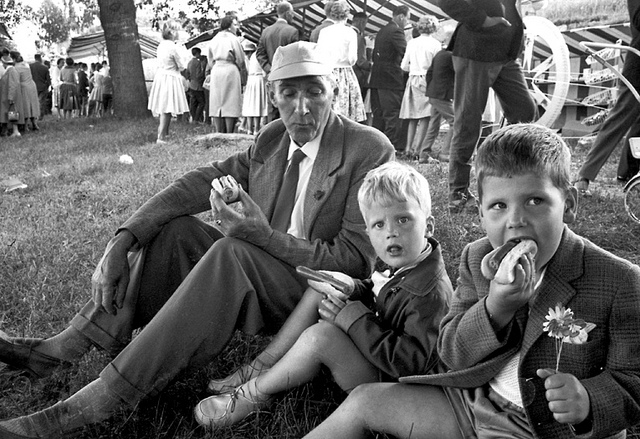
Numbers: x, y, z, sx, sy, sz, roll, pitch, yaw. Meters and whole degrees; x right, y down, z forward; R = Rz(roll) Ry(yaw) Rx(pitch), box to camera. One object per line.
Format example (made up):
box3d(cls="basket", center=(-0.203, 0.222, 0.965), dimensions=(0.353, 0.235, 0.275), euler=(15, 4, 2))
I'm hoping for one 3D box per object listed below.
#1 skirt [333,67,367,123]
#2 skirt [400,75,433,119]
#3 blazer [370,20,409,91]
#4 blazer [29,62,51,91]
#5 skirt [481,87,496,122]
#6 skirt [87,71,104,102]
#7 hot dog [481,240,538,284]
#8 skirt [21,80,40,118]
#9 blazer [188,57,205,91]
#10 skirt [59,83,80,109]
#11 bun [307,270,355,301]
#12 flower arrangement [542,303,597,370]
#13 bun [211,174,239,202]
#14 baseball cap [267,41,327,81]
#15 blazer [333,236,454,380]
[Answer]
box3d(cls="skirt", center=(0.371, -2.134, 9.420), dimensions=(0.503, 0.957, 0.750), euler=(1, 16, -3))
box3d(cls="skirt", center=(1.587, -1.999, 9.389), dimensions=(0.390, 0.796, 0.443), euler=(15, 24, 24))
box3d(cls="blazer", center=(1.096, -2.699, 9.295), dimensions=(0.570, 1.103, 0.297), euler=(1, 13, 5))
box3d(cls="blazer", center=(-10.110, -5.249, 20.395), dimensions=(0.777, 1.074, 0.390), euler=(5, 39, -12))
box3d(cls="skirt", center=(2.849, -1.926, 9.575), dimensions=(0.190, 0.579, 0.657), euler=(4, 15, 15))
box3d(cls="skirt", center=(-8.633, -5.163, 21.969), dimensions=(0.508, 1.128, 0.844), euler=(-7, 16, -28))
box3d(cls="hot dog", center=(0.775, 0.156, 2.364), dimensions=(0.247, 0.126, 0.081), euler=(-46, 3, -39))
box3d(cls="skirt", center=(-8.049, -3.369, 15.753), dimensions=(0.311, 0.989, 0.567), euler=(-5, 14, -19))
box3d(cls="blazer", center=(-3.636, -4.299, 16.599), dimensions=(0.504, 0.948, 0.330), euler=(2, 13, 7))
box3d(cls="skirt", center=(-9.576, -4.746, 21.601), dimensions=(0.663, 0.972, 0.651), euler=(-6, 15, -24))
box3d(cls="bun", center=(0.063, 0.360, 3.085), dimensions=(0.254, 0.150, 0.256), euler=(2, 14, 6))
box3d(cls="flower arrangement", center=(1.044, 0.509, 2.396), dimensions=(0.186, 0.317, 0.210), euler=(7, 15, 28))
box3d(cls="bun", center=(-0.562, -0.196, 3.358), dimensions=(0.146, 0.158, 0.064), euler=(-19, -23, -18))
box3d(cls="baseball cap", center=(-0.147, -0.975, 3.443), dimensions=(0.205, 0.120, 0.314), euler=(-1, 16, 1))
box3d(cls="blazer", center=(0.291, 0.504, 3.161), dimensions=(0.568, 0.879, 0.708), euler=(-1, 13, -11))
